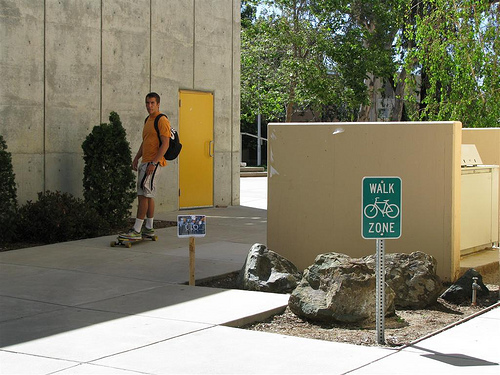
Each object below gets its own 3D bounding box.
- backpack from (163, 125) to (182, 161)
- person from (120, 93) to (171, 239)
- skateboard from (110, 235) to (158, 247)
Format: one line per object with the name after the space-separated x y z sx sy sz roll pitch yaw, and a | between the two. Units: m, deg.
-1.393 -0.844 10.332 0.435 0.809 0.624 2 6 -5 | backpack
-1.880 -0.390 10.058 0.819 2.648 0.579 0 5 -10 | person
-2.187 0.951 10.154 0.437 0.178 0.887 3 5 27 | skateboard
